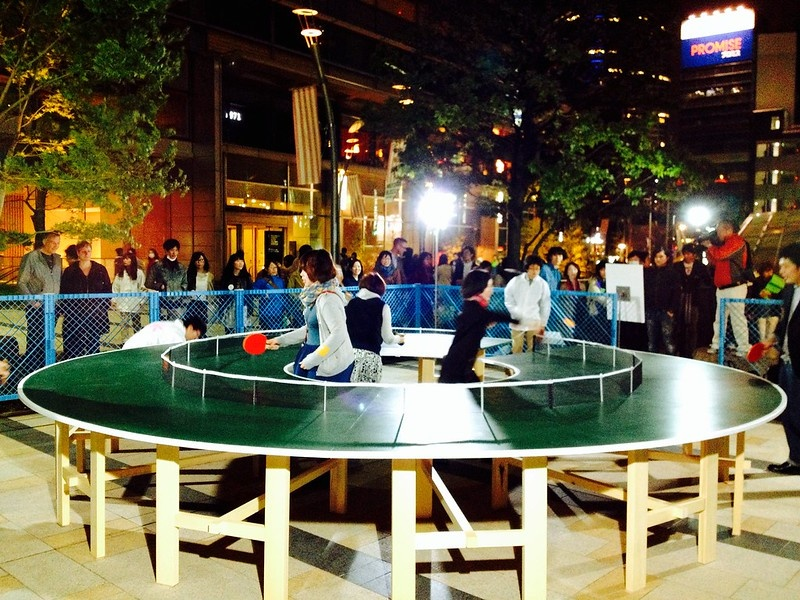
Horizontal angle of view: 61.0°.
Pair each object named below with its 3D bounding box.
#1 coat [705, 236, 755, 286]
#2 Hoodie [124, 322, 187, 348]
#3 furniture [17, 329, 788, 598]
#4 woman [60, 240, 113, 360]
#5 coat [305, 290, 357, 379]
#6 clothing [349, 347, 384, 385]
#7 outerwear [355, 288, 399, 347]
[{"bbox_3d":[6.188,-0.729,12.860,0.850,1.121,0.880,5,7,35],"label":"coat"},{"bbox_3d":[-3.058,0.452,8.446,0.459,0.156,0.474,4,10,32],"label":"Hoodie"},{"bbox_3d":[0.069,1.447,6.008,6.389,1.739,2.961,0,1,2],"label":"furniture"},{"bbox_3d":[-5.062,0.253,10.962,0.885,2.515,0.747,-1,-10,-28],"label":"woman"},{"bbox_3d":[-0.693,0.320,7.106,0.678,1.067,0.868,0,-1,-7],"label":"coat"},{"bbox_3d":[-0.370,0.779,7.579,0.423,0.577,0.317,7,-13,-36],"label":"clothing"},{"bbox_3d":[-0.192,0.225,7.847,0.455,0.646,0.224,18,20,38],"label":"outerwear"}]
